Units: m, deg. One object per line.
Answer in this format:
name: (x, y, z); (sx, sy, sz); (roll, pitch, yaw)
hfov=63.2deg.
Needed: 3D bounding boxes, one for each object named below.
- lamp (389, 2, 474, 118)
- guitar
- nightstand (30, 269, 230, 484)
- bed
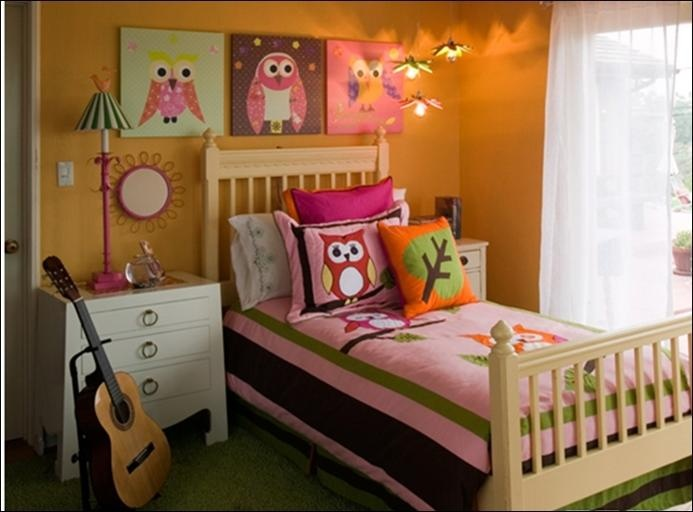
lamp: (0.490, -1.062, 3.372); (0.431, 0.434, 0.522); (1, 15, 4)
guitar: (-0.993, 0.574, 2.255); (0.426, 0.942, 0.319); (3, 15, 11)
nightstand: (-1.000, 0.558, 2.760); (0.745, 0.753, 0.420); (-4, 3, -34)
bed: (0.318, 0.101, 2.778); (1.225, 1.532, 2.265); (-6, 11, -32)
